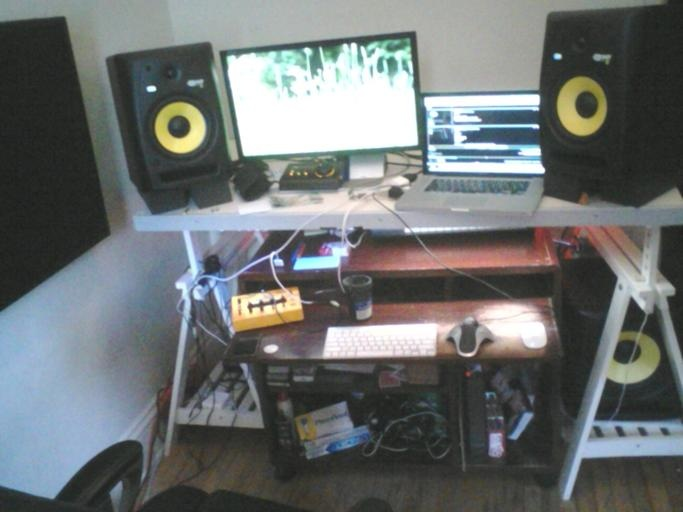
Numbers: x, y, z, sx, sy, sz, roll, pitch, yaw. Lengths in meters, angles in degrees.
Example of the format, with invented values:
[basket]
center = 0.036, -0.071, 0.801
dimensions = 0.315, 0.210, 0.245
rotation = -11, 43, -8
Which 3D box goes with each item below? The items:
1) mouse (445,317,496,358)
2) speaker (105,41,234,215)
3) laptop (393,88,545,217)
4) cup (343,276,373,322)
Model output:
[mouse]
center = 0.456, 0.258, 2.171
dimensions = 0.165, 0.179, 0.053
rotation = 7, 16, 5
[speaker]
center = -0.616, -0.464, 2.231
dimensions = 0.346, 0.553, 0.293
rotation = -12, 17, -19
[laptop]
center = 0.437, -0.354, 2.097
dimensions = 0.459, 0.318, 0.343
rotation = 7, 30, 30
[cup]
center = 0.068, 0.165, 2.324
dimensions = 0.111, 0.163, 0.116
rotation = -3, 16, 1
